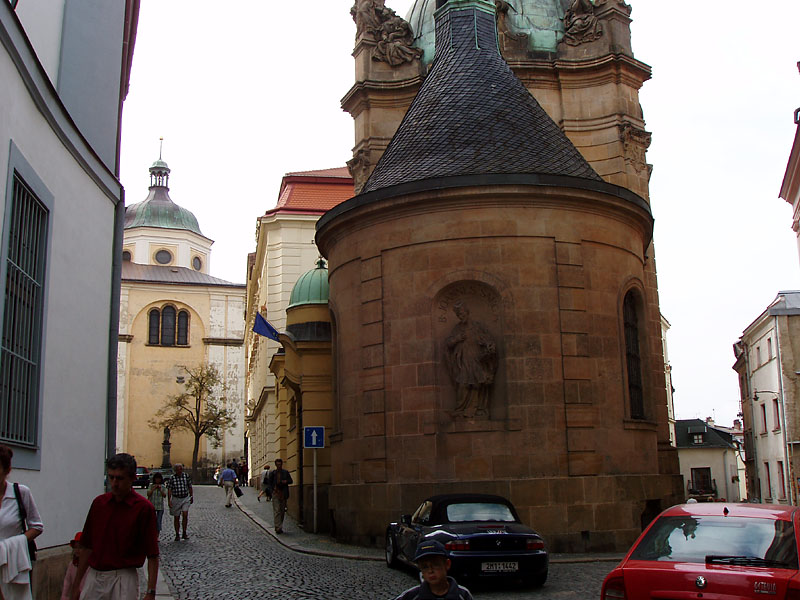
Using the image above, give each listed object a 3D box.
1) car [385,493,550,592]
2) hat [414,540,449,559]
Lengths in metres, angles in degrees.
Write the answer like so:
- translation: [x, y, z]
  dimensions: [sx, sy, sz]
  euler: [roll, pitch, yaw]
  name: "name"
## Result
- translation: [1.088, 4.475, 14.099]
  dimensions: [1.902, 1.211, 3.892]
  euler: [3, -9, -12]
  name: "car"
- translation: [0.216, 1.723, 5.575]
  dimensions: [0.214, 0.134, 0.200]
  euler: [-2, -15, 0]
  name: "hat"
